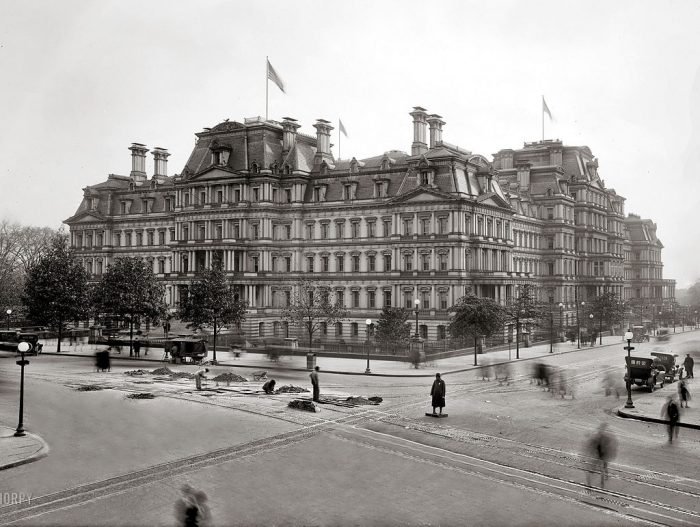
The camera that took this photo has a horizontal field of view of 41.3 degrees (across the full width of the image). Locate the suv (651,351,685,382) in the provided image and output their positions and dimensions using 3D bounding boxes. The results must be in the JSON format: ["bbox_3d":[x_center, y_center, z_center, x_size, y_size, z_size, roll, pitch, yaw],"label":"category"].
[{"bbox_3d":[21.449,6.956,63.267,1.747,1.965,3.275,-1,0,32],"label":"suv"}]

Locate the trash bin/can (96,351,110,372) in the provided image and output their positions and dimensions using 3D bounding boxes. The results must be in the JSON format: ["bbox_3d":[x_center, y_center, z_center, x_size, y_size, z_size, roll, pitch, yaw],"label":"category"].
[{"bbox_3d":[-17.429,6.857,65.708,0.910,1.375,2.309,0,3,-12],"label":"trash bin/can"}]

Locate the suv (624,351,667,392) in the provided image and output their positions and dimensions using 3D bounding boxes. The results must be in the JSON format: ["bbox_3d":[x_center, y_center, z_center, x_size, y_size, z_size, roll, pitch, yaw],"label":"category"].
[{"bbox_3d":[19.045,6.966,60.032,1.930,2.050,3.598,4,2,31],"label":"suv"}]

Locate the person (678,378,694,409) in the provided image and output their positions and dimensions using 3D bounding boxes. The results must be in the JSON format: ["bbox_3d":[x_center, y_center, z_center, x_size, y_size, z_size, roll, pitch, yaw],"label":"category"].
[{"bbox_3d":[18.948,7.220,52.521,0.622,1.572,2.664,2,3,20],"label":"person"}]

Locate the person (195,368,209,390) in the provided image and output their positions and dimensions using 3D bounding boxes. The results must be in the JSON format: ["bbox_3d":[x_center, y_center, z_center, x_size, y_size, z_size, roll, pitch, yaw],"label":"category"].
[{"bbox_3d":[-9.148,7.072,57.152,1.073,1.849,0.823,0,1,-16],"label":"person"}]
